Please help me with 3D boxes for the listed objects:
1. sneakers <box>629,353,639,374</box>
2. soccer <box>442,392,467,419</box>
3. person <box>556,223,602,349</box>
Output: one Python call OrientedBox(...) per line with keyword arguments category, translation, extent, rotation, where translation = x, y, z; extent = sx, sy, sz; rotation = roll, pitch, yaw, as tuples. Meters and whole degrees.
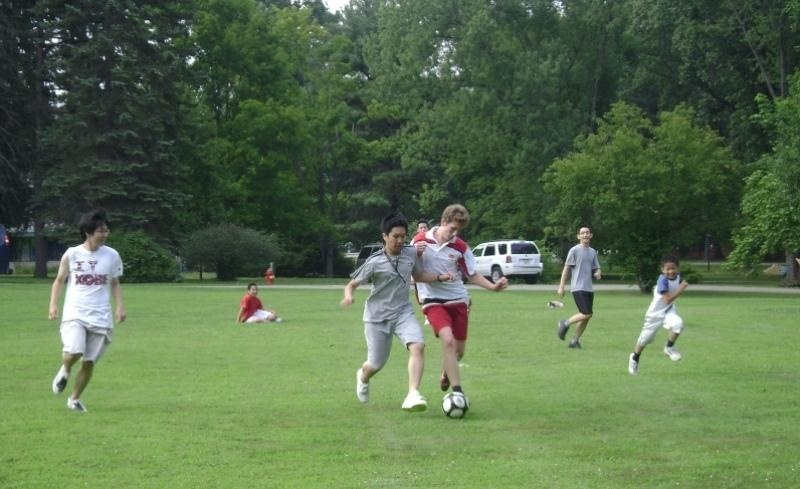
OrientedBox(category="sneakers", translation=(6.788, 3.451, 30.441), extent=(0.295, 0.593, 0.285), rotation=(-1, 7, 0))
OrientedBox(category="soccer", translation=(1.456, 4.253, 27.809), extent=(0.731, 0.610, 0.736), rotation=(-2, -10, 43))
OrientedBox(category="person", translation=(5.798, 1.377, 33.753), extent=(1.211, 2.627, 1.082), rotation=(3, -1, 8))
